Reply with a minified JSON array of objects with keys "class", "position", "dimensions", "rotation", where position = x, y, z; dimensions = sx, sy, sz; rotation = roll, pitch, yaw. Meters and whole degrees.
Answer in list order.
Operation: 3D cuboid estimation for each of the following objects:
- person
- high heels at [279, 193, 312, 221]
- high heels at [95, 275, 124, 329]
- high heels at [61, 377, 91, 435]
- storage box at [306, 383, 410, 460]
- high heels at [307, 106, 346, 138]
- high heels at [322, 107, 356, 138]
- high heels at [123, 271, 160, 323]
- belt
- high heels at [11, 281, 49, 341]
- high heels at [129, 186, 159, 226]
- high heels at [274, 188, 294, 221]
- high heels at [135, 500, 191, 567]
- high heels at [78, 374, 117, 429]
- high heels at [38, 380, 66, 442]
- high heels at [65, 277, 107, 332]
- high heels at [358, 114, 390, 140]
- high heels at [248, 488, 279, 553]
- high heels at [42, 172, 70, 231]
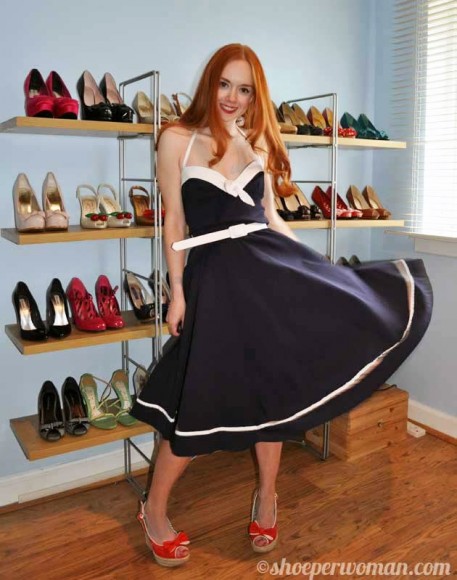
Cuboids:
[{"class":"person","position":[0.138,0.080,1.501],"dimensions":[0.892,1.555,0.451],"rotation":[-2,8,-6]},{"class":"high heels","position":[0.318,-0.393,2.308],"dimensions":[0.101,0.102,0.283],"rotation":[-4,7,-13]},{"class":"high heels","position":[-0.460,0.060,1.830],"dimensions":[0.093,0.059,0.260],"rotation":[-11,46,-24]},{"class":"high heels","position":[-0.570,0.430,1.796],"dimensions":[0.076,0.067,0.260],"rotation":[-1,31,-25]},{"class":"storage box","position":[0.616,0.602,2.290],"dimensions":[0.461,0.256,0.308],"rotation":[-7,4,-32]},{"class":"high heels","position":[0.435,-0.778,2.240],"dimensions":[0.108,0.115,0.308],"rotation":[-9,25,-6]},{"class":"high heels","position":[0.506,-0.763,2.230],"dimensions":[0.110,0.130,0.351],"rotation":[-5,11,20]},{"class":"high heels","position":[-0.353,0.024,1.901],"dimensions":[0.102,0.103,0.264],"rotation":[-19,44,-24]},{"class":"belt","position":[-0.028,-0.155,1.413],"dimensions":[0.360,0.047,0.022],"rotation":[-12,2,-3]},{"class":"high heels","position":[-0.688,0.081,1.676],"dimensions":[0.090,0.055,0.315],"rotation":[-13,44,-25]},{"class":"high heels","position":[-0.331,-0.324,1.842],"dimensions":[0.099,0.090,0.258],"rotation":[-7,48,-17]},{"class":"high heels","position":[0.252,-0.389,2.232],"dimensions":[0.075,0.082,0.216],"rotation":[-13,28,-9]},{"class":"high heels","position":[-0.245,0.796,1.608],"dimensions":[0.097,0.095,0.254],"rotation":[-10,32,-37]},{"class":"high heels","position":[-0.503,0.428,1.866],"dimensions":[0.089,0.050,0.286],"rotation":[-2,26,-27]},{"class":"high heels","position":[-0.636,0.427,1.730],"dimensions":[0.080,0.087,0.234],"rotation":[-2,30,-23]},{"class":"high heels","position":[-0.531,0.051,1.765],"dimensions":[0.096,0.138,0.302],"rotation":[-16,32,-36]},{"class":"high heels","position":[0.713,-0.785,2.351],"dimensions":[0.098,0.121,0.317],"rotation":[-6,28,21]},{"class":"high heels","position":[0.115,0.778,1.634],"dimensions":[0.079,0.054,0.195],"rotation":[0,43,8]},{"class":"high heels","position":[-0.609,-0.313,1.697],"dimensions":[0.093,0.120,0.283],"rotation":[-9,53,-23]}]
